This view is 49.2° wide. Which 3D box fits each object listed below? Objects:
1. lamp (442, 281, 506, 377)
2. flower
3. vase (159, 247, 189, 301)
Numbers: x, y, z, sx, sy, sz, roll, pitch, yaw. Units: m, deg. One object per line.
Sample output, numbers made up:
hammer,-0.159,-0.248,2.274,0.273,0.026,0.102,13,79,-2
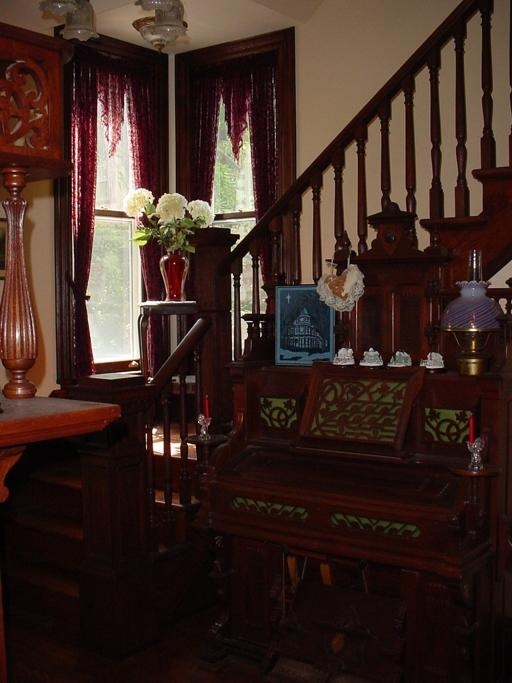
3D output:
lamp,0.746,-0.052,1.932,0.200,0.307,0.228,2,7,21
flower,-0.630,-0.828,3.856,0.601,0.615,0.425,5,28,1
vase,-0.529,-0.416,3.565,0.172,0.309,0.322,-1,7,-5
